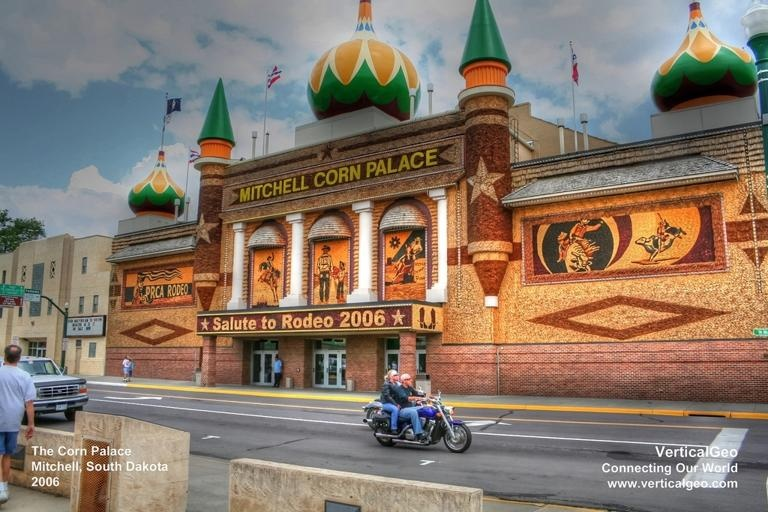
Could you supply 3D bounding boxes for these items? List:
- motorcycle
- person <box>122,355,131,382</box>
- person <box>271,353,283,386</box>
[{"bbox_3d":[1.107,5.094,18.883,3.230,1.525,1.542,-6,-14,27],"label":"motorcycle"},{"bbox_3d":[-17.307,7.708,41.832,0.481,1.499,1.818,4,-12,-20],"label":"person"},{"bbox_3d":[-6.557,7.106,38.426,0.571,1.982,1.091,2,-12,-9],"label":"person"}]
